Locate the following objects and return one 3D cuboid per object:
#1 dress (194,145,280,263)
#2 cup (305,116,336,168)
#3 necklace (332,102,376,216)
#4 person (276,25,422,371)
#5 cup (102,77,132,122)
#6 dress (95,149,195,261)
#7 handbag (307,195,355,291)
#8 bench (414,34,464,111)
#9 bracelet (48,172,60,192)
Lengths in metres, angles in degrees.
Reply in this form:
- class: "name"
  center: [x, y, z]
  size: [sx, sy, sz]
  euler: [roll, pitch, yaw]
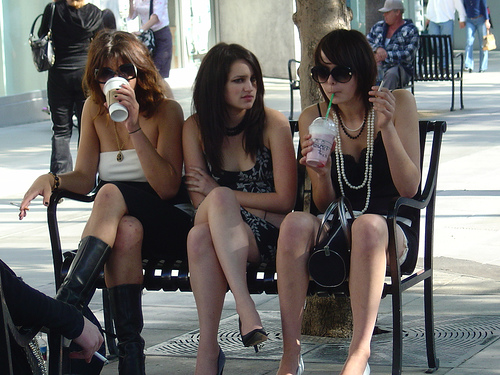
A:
- class: "dress"
  center: [-0.050, 0.091, 4.063]
  size: [0.433, 0.642, 0.427]
  euler: [-3, 9, -2]
- class: "cup"
  center: [0.395, -0.265, 3.825]
  size: [0.154, 0.306, 0.170]
  euler: [5, -15, 39]
- class: "necklace"
  center: [0.679, -0.157, 4.067]
  size: [0.184, 0.736, 0.048]
  euler: [-1, 9, 18]
- class: "person"
  center: [0.570, 0.081, 3.870]
  size: [0.750, 1.933, 1.025]
  euler: [0, 9, 15]
- class: "cup"
  center: [-0.754, -0.505, 3.944]
  size: [0.137, 0.248, 0.123]
  euler: [-5, 9, -15]
- class: "dress"
  center: [-0.608, 0.097, 4.199]
  size: [0.546, 0.625, 0.529]
  euler: [-4, 9, -10]
- class: "handbag"
  center: [0.433, 0.300, 3.704]
  size: [0.250, 0.477, 0.329]
  euler: [-1, 9, 8]
- class: "bench"
  center: [3.275, -2.028, 12.051]
  size: [0.830, 1.175, 0.836]
  euler: [3, 5, 27]
- class: "bracelet"
  center: [-1.199, -0.011, 4.185]
  size: [0.031, 0.081, 0.086]
  euler: [-7, -17, -9]
